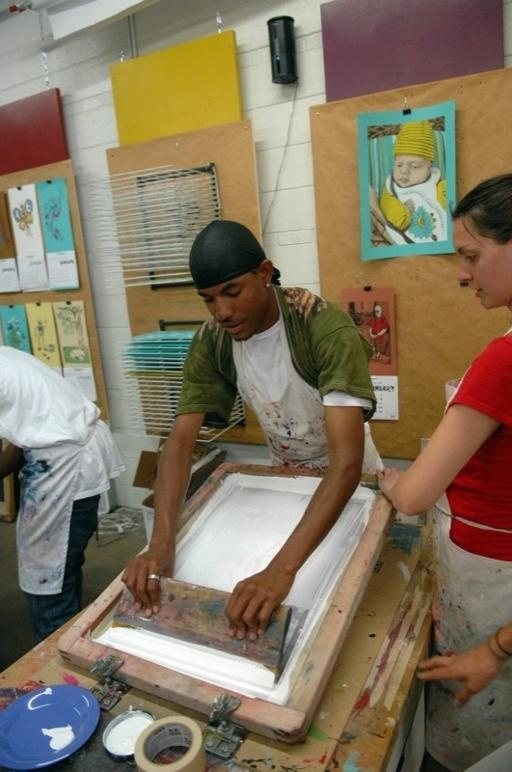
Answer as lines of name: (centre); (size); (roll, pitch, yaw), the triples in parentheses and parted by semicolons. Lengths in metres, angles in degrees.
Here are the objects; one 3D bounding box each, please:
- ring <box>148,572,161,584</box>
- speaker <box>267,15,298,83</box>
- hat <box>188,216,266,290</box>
ring: (-0.195, 0.367, 1.109); (0.018, 0.012, 0.018); (7, -12, 1)
speaker: (0.106, -1.291, 2.244); (0.107, 0.214, 0.141); (-3, 13, 5)
hat: (-0.062, -0.289, 1.318); (0.132, 0.132, 0.170); (-14, 1, 22)
